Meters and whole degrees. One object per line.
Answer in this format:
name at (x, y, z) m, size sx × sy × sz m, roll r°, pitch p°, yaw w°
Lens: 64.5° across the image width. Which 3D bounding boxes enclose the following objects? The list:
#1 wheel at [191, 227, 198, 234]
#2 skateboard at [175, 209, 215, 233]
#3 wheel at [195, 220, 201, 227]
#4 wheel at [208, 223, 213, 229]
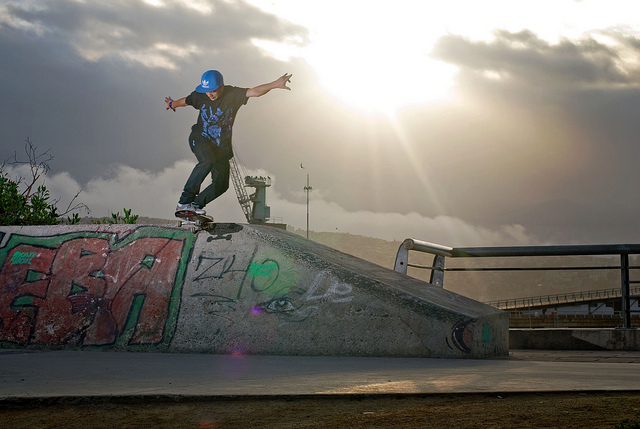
wheel at (-2.481, 0.302, 9.989) m, size 0.120 × 0.138 × 0.046 m, roll 7°, pitch -11°, yaw -11°
skateboard at (-2.467, 0.131, 9.983) m, size 0.724 × 0.424 × 0.348 m, roll 2°, pitch -11°, yaw 14°
wheel at (-2.397, 0.153, 10.014) m, size 0.103 × 0.099 × 0.102 m, roll 1°, pitch 3°, yaw 0°
wheel at (-2.167, 0.215, 10.058) m, size 0.136 × 0.130 × 0.075 m, roll 2°, pitch 9°, yaw 14°
